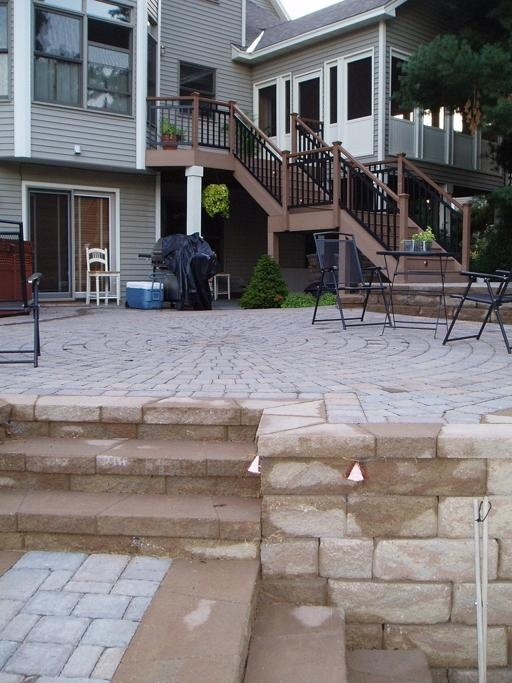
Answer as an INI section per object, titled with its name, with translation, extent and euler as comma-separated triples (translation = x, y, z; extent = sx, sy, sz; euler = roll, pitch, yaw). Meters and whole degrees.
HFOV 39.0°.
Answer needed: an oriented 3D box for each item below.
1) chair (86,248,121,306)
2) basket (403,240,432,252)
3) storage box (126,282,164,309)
[chair]
translation = -2.703, -1.124, 12.553
extent = 0.585, 0.967, 1.225
euler = -3, 7, -11
[basket]
translation = 1.909, -1.123, 8.619
extent = 0.282, 0.102, 0.279
euler = 0, 1, 3
[storage box]
translation = -1.632, -0.669, 10.703
extent = 0.338, 0.377, 0.619
euler = -2, 6, -39
